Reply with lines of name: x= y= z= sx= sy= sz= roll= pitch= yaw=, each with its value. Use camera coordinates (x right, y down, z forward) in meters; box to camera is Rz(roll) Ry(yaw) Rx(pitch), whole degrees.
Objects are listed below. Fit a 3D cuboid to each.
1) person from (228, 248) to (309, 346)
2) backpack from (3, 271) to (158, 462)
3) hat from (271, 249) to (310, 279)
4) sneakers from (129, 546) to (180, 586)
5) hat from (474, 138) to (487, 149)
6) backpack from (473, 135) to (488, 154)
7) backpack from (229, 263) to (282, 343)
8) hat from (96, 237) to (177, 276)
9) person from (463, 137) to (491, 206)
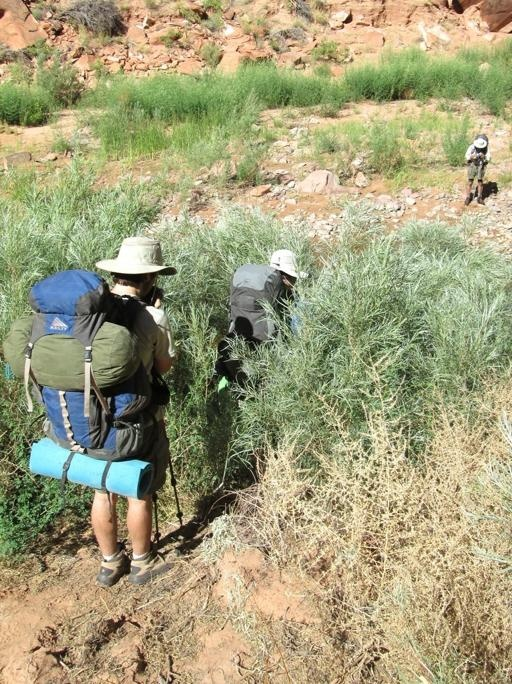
person: x=0.048 y=-0.270 z=4.051 sx=0.287 sy=0.215 sz=0.726 roll=5 pitch=47 yaw=17
backpack: x=-0.752 y=0.159 z=3.000 sx=0.531 sy=0.944 sz=0.367 roll=-5 pitch=26 yaw=-2
hat: x=0.192 y=-0.490 z=4.186 sx=0.247 sy=0.125 sz=0.173 roll=24 pitch=2 yaw=-1
sneakers: x=-0.503 y=1.114 z=3.441 sx=0.107 sy=0.132 sz=0.282 roll=11 pitch=18 yaw=29
hat: x=2.734 y=-2.432 z=8.144 sx=0.154 sy=0.126 sz=0.161 roll=5 pitch=26 yaw=18
backpack: x=2.714 y=-2.432 z=8.204 sx=0.184 sy=0.222 sz=0.210 roll=0 pitch=66 yaw=6
backpack: x=0.024 y=-0.246 z=4.021 sx=0.460 sy=0.353 sz=0.321 roll=20 pitch=34 yaw=41
hat: x=-0.702 y=-0.500 z=3.895 sx=0.517 sy=0.208 sz=0.510 roll=3 pitch=13 yaw=2
person: x=2.736 y=-2.182 z=8.289 sx=0.259 sy=0.730 sz=1.075 roll=5 pitch=26 yaw=17
